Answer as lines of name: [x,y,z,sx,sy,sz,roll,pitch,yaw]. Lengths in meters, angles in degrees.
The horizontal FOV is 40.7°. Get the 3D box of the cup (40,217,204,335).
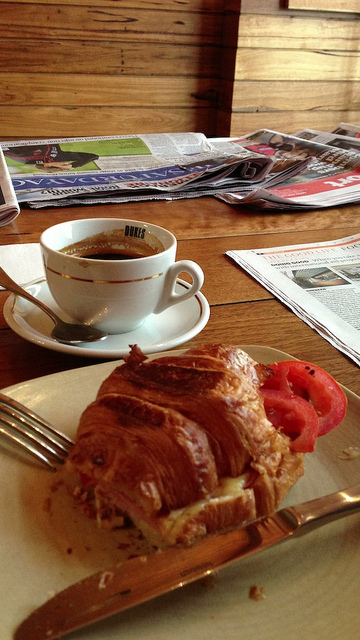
cup: [-0.057,-0.038,0.469,0.146,0.090,0.126,9,26,5]
